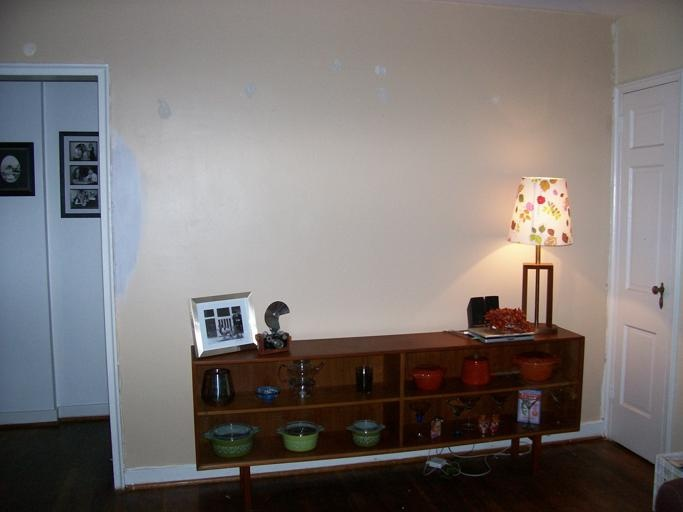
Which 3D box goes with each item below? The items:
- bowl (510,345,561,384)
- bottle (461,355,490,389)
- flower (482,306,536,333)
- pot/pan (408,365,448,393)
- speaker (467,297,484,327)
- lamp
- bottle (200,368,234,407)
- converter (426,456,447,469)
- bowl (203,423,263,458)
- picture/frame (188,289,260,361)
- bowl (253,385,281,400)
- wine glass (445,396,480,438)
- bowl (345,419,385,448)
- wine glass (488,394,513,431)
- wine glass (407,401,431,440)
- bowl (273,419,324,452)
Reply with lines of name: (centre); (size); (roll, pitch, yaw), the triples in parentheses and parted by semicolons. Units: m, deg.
bowl: (1.365, 0.763, 3.635); (0.258, 0.146, 0.223); (-4, 5, 11)
bottle: (0.903, 0.765, 3.545); (0.177, 0.205, 0.183); (2, 5, 22)
flower: (1.126, 0.417, 3.528); (0.220, 0.112, 0.178); (3, -1, -31)
pot/pan: (0.566, 0.799, 3.429); (0.179, 0.117, 0.153); (0, -4, -7)
speaker: (0.938, 0.392, 3.664); (0.117, 0.211, 0.116); (2, 11, 11)
lamp: (1.366, -0.020, 3.676); (0.390, 1.058, 0.432); (2, 11, 14)
bottle: (-0.751, 0.802, 3.184); (0.190, 0.201, 0.198); (0, -3, 2)
converter: (0.655, 1.431, 3.626); (0.101, 0.043, 0.066); (1, 5, 9)
bowl: (-0.684, 1.151, 3.267); (0.325, 0.144, 0.187); (-3, 11, -11)
picture/frame: (-0.744, 0.441, 3.267); (0.424, 0.388, 0.061); (-4, -15, -32)
bowl: (-0.472, 0.872, 3.321); (0.147, 0.069, 0.131); (-2, 11, -7)
wine glass: (0.829, 1.099, 3.596); (0.203, 0.260, 0.225); (-1, -1, 1)
bowl: (0.154, 1.143, 3.401); (0.222, 0.122, 0.213); (0, 11, 0)
wine glass: (1.097, 1.096, 3.656); (0.122, 0.170, 0.232); (-1, 2, 2)
wine glass: (0.521, 1.104, 3.540); (0.175, 0.225, 0.190); (-1, 1, 2)
bowl: (-0.268, 1.146, 3.344); (0.273, 0.137, 0.221); (-2, 11, -8)
